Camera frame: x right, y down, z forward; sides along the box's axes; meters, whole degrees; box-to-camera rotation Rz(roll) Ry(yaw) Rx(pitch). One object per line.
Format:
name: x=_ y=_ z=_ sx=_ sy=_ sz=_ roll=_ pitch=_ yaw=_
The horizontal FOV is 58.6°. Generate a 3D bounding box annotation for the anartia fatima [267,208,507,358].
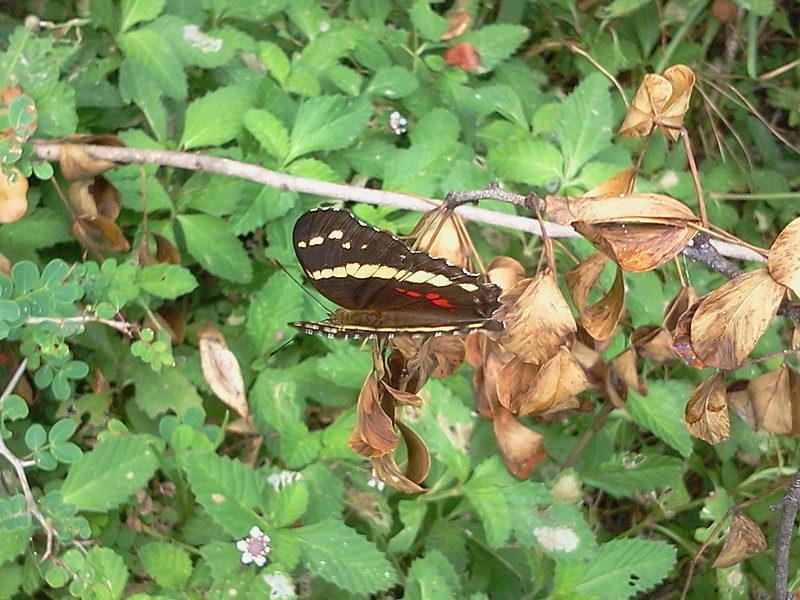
anartia fatima: x=-0.032 y=0.006 z=1.645 sx=0.494 sy=0.422 sz=0.194 roll=-5 pitch=41 yaw=20
